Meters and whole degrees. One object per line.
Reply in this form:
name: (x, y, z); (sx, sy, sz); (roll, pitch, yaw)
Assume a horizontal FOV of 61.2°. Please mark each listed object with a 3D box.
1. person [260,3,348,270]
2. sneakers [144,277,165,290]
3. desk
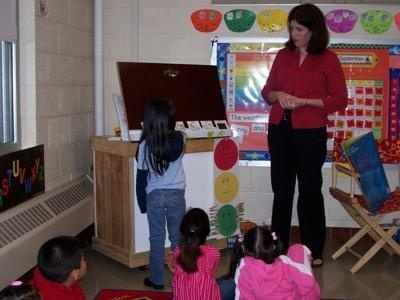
person: (0.846, -0.061, 2.849); (0.640, 2.218, 0.322); (2, 7, 5)
sneakers: (-0.362, 1.052, 2.702); (0.168, 0.069, 0.064); (12, 11, 43)
desk: (-0.276, 0.425, 3.457); (1.706, 1.506, 0.990); (-5, 8, -41)
